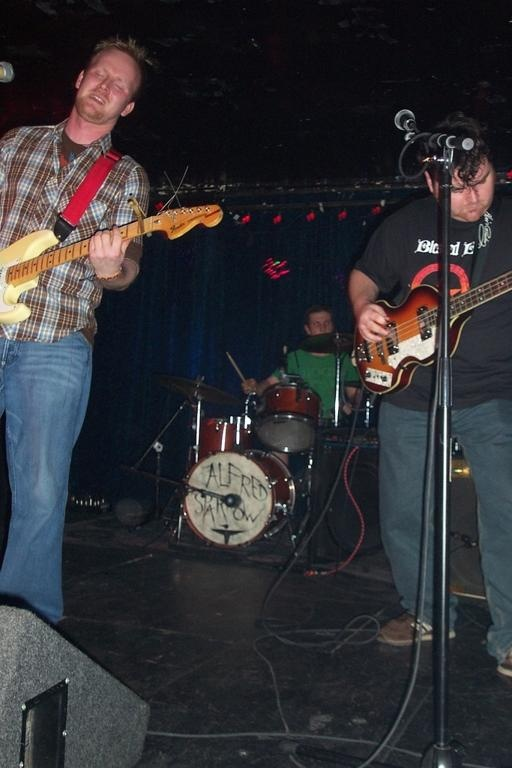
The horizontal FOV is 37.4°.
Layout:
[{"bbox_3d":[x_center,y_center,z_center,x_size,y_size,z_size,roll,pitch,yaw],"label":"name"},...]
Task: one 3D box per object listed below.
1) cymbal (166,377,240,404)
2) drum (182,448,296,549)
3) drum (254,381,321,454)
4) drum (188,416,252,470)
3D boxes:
[{"bbox_3d":[-0.411,0.054,5.451,0.316,0.069,0.313,-3,-24,38],"label":"cymbal"},{"bbox_3d":[-0.300,0.767,4.940,0.780,0.607,0.444,10,-17,-34],"label":"drum"},{"bbox_3d":[0.217,0.248,5.251,0.446,0.526,0.563,6,4,1],"label":"drum"},{"bbox_3d":[-0.263,0.405,5.275,0.315,0.280,0.280,9,16,3],"label":"drum"}]
